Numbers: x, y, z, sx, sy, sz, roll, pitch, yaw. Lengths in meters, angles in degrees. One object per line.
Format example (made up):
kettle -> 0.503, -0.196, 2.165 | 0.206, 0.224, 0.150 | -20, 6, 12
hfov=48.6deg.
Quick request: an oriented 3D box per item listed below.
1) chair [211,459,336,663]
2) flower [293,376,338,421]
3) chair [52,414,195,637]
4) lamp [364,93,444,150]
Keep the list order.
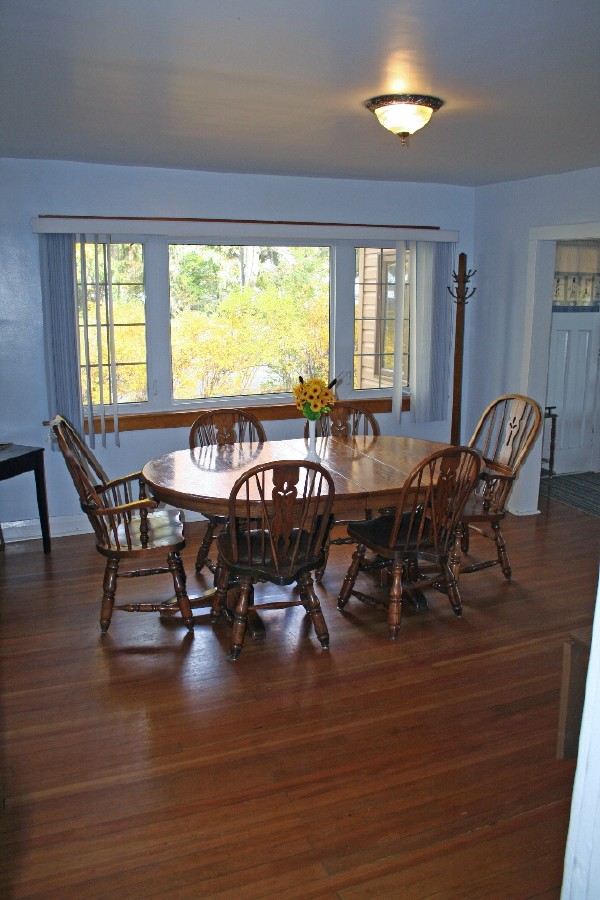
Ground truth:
chair -> -0.113, 0.450, 3.032 | 0.585, 0.952, 0.811 | -2, 12, -8
flower -> 0.080, -0.251, 3.448 | 0.204, 0.242, 0.285 | 0, 12, 3
chair -> -0.951, 0.292, 3.598 | 0.624, 1.063, 1.242 | -3, 12, -13
lamp -> 0.451, -1.444, 2.909 | 0.303, 0.137, 0.301 | -2, 13, -1
